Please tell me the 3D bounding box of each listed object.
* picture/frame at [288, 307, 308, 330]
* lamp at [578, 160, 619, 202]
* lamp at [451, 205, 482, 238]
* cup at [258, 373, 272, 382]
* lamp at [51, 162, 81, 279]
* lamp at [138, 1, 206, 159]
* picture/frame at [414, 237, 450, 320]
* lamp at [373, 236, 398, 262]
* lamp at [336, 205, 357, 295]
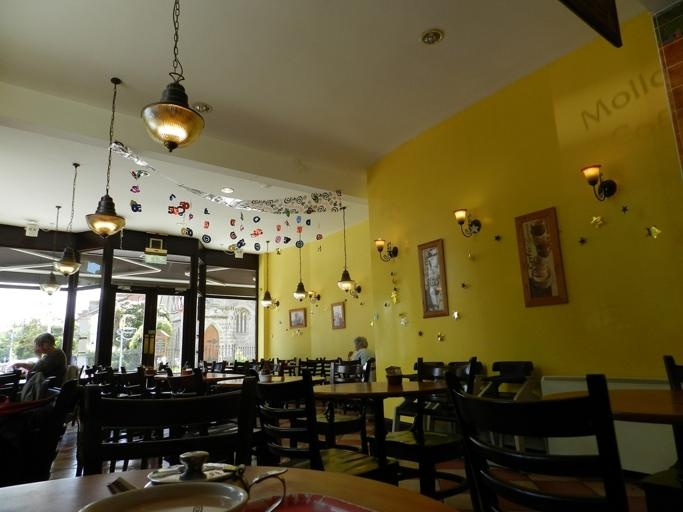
[{"bbox_3d":[-1.051,1.509,11.550,0.055,0.432,0.552,8,-12,-36],"label":"picture/frame"},{"bbox_3d":[2.517,-0.724,4.597,0.368,0.398,0.248,4,-12,-10],"label":"lamp"},{"bbox_3d":[1.517,-0.408,5.815,0.186,0.349,0.390,5,-15,-29],"label":"lamp"},{"bbox_3d":[-0.717,1.162,4.511,0.135,0.081,0.137,-2,-16,-1],"label":"cup"},{"bbox_3d":[-4.552,-0.317,7.707,0.279,1.249,0.274,-11,-23,-25],"label":"lamp"},{"bbox_3d":[-1.504,-1.569,4.307,0.485,1.396,1.094,2,-14,-17],"label":"lamp"},{"bbox_3d":[1.216,0.308,6.241,0.069,1.447,0.772,6,-16,-25],"label":"picture/frame"},{"bbox_3d":[0.662,-0.107,7.013,0.119,0.368,0.470,6,-15,-31],"label":"lamp"},{"bbox_3d":[0.070,-0.139,9.382,0.355,1.706,0.364,2,-11,-23],"label":"lamp"}]
